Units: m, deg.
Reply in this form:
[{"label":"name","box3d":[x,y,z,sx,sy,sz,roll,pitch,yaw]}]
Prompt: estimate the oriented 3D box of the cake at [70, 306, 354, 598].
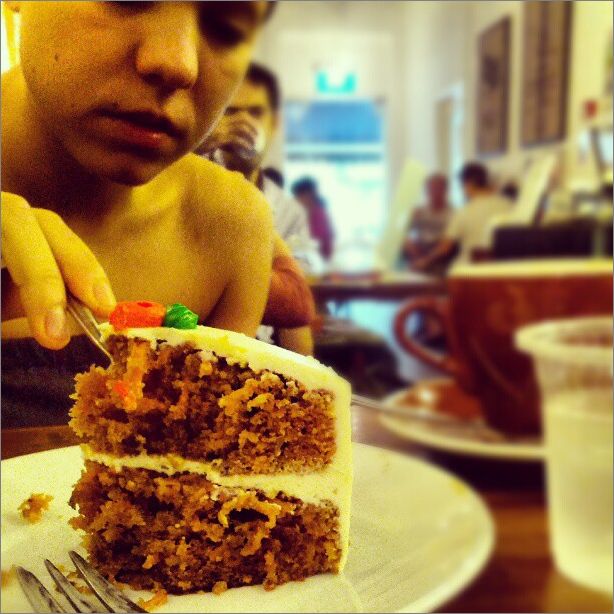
[{"label":"cake","box3d":[-0.149,0.254,1.418,0.637,0.628,0.383,0,-2,-3]}]
